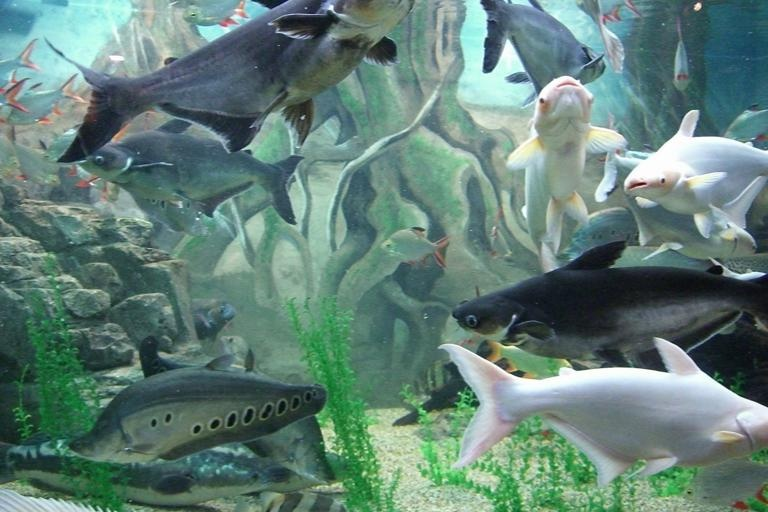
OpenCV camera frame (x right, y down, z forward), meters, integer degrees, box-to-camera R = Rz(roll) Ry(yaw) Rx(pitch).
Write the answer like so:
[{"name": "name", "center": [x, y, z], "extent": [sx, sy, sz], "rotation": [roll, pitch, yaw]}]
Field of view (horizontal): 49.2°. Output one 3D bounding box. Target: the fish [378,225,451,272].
[{"name": "fish", "center": [0.487, -0.167, 14.234], "extent": [1.632, 0.561, 0.496], "rotation": [7, -2, -40]}]
